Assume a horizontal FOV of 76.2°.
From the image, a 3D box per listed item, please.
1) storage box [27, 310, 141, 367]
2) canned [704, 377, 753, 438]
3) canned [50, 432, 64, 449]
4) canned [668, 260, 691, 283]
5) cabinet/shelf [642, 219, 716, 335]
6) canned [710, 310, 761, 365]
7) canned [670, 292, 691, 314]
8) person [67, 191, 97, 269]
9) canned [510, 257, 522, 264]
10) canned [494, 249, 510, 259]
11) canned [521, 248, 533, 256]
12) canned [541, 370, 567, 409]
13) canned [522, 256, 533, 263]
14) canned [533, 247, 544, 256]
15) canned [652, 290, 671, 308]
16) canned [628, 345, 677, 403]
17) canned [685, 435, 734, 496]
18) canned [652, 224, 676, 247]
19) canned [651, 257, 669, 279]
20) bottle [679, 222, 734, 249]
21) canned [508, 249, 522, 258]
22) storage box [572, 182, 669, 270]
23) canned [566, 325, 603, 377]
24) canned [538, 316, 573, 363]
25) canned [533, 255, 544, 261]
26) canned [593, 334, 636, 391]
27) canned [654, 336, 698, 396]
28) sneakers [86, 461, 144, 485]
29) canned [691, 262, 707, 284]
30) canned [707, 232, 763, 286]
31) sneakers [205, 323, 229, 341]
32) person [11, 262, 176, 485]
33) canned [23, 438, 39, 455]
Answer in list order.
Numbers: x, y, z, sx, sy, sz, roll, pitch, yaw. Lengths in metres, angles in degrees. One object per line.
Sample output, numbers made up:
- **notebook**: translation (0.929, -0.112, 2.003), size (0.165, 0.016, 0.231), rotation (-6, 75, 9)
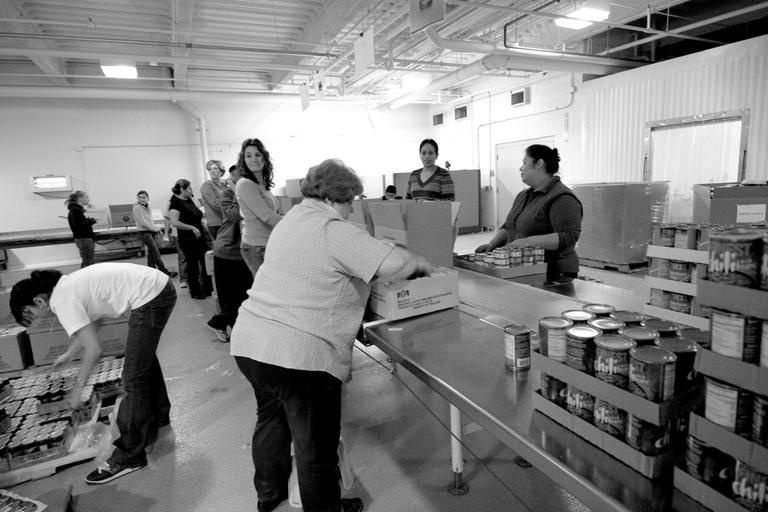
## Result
- **storage box**: translation (-2.968, 0.777, 4.863), size (0.869, 0.387, 0.601), rotation (-2, 16, -17)
- **canned**: translation (1.265, 0.553, 1.876), size (0.195, 0.200, 0.196), rotation (2, 3, 24)
- **canned**: translation (-2.251, 1.272, 3.381), size (0.096, 0.054, 0.096), rotation (1, 3, 33)
- **canned**: translation (1.565, 0.085, 2.592), size (0.105, 0.101, 0.105), rotation (5, 10, 36)
- **cabinet/shelf**: translation (1.515, 0.117, 2.797), size (0.530, 0.495, 0.520), rotation (7, -5, 15)
- **canned**: translation (1.296, 0.288, 1.851), size (0.188, 0.188, 0.186), rotation (5, 7, 31)
- **canned**: translation (1.568, 0.262, 2.607), size (0.093, 0.092, 0.093), rotation (-2, 1, -2)
- **person**: translation (-4.786, -0.422, 7.797), size (0.343, 1.218, 0.747), rotation (-11, 14, -31)
- **canned**: translation (0.980, 0.038, 3.644), size (0.062, 0.032, 0.058), rotation (-1, -1, -5)
- **canned**: translation (0.881, -0.013, 3.654), size (0.097, 0.077, 0.082), rotation (-5, 12, -12)
- **canned**: translation (1.074, -0.029, 3.672), size (0.062, 0.055, 0.060), rotation (-1, -2, 29)
- **canned**: translation (0.734, 0.582, 2.128), size (0.092, 0.129, 0.141), rotation (-2, 9, -22)
- **canned**: translation (1.081, 0.027, 3.679), size (0.062, 0.041, 0.057), rotation (1, 0, -9)
- **canned**: translation (1.167, -0.032, 3.708), size (0.066, 0.054, 0.060), rotation (0, -1, -12)
- **canned**: translation (1.516, 0.240, 2.690), size (0.097, 0.081, 0.088), rotation (-2, 3, -34)
- **canned**: translation (1.071, 0.476, 1.968), size (0.164, 0.165, 0.166), rotation (1, 14, 31)
- **canned**: translation (1.293, 0.799, 1.914), size (0.166, 0.163, 0.180), rotation (-4, 8, -18)
- **canned**: translation (1.532, -0.114, 2.688), size (0.121, 0.110, 0.121), rotation (-1, 2, -27)
- **canned**: translation (1.514, 0.063, 2.734), size (0.099, 0.089, 0.176), rotation (3, 2, 16)
- **bottle**: translation (1.620, -0.105, 2.479), size (0.260, 0.100, 0.297), rotation (-1, 0, 8)
- **canned**: translation (0.978, -0.018, 3.636), size (0.069, 0.039, 0.068), rotation (0, 0, 40)
- **storage box**: translation (3.432, -0.446, 7.128), size (0.968, 1.126, 1.231), rotation (-4, 7, -14)
- **canned**: translation (0.823, 0.389, 2.055), size (0.175, 0.167, 0.172), rotation (4, 8, 31)
- **canned**: translation (0.756, 0.365, 2.163), size (0.151, 0.151, 0.150), rotation (8, 20, 35)
- **canned**: translation (1.171, 0.013, 3.713), size (0.059, 0.055, 0.059), rotation (3, 4, 39)
- **canned**: translation (0.955, 0.440, 2.033), size (0.168, 0.165, 0.159), rotation (-1, 6, -2)
- **canned**: translation (1.192, 0.444, 2.051), size (0.194, 0.186, 0.188), rotation (-12, 16, -35)
- **sneakers**: translation (-1.837, 1.459, 3.342), size (0.336, 0.120, 0.117), rotation (7, 0, -29)
- **canned**: translation (1.354, 0.072, 2.110), size (0.116, 0.097, 0.036), rotation (5, -4, -31)
- **canned**: translation (1.314, 0.005, 1.931), size (0.206, 0.197, 0.195), rotation (1, 2, 10)
- **sneakers**: translation (-1.728, 0.797, 5.095), size (0.263, 0.110, 0.088), rotation (39, 10, 5)
- **person**: translation (-1.750, 0.769, 3.204), size (0.483, 1.466, 0.772), rotation (3, 14, 26)
- **canned**: translation (-2.395, 1.307, 3.336), size (0.095, 0.053, 0.088), rotation (-3, 7, -40)
